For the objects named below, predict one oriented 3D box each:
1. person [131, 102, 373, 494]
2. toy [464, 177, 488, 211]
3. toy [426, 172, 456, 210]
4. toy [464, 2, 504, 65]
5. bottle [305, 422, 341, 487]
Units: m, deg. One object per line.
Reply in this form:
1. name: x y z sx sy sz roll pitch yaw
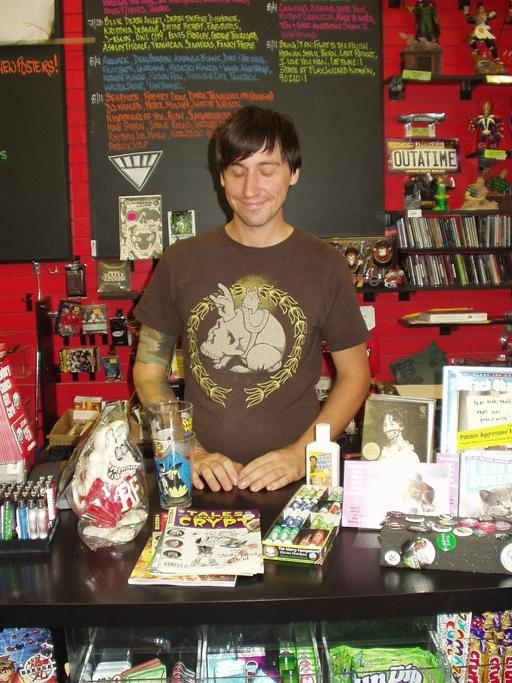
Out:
1. person: -0.005 -0.130 1.592 0.701 1.029 0.767 -13 22 -26
2. toy: 1.295 -0.879 3.285 0.135 0.167 0.254 5 21 21
3. toy: 1.091 -0.893 3.315 0.180 0.206 0.382 3 20 18
4. toy: 1.331 -1.816 3.278 0.213 0.345 0.286 4 21 19
5. bottle: 0.144 0.247 1.220 0.072 0.152 0.109 -2 20 4
